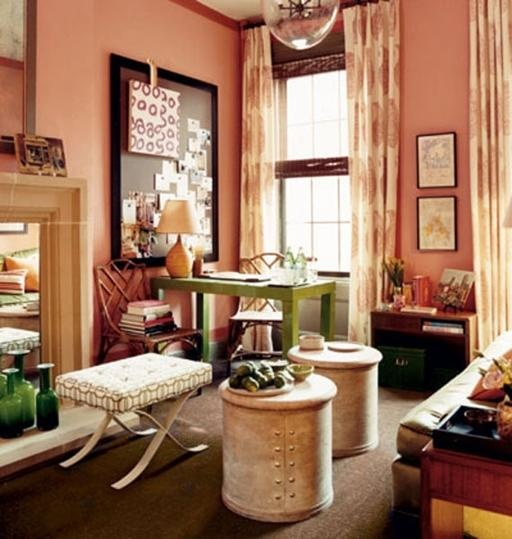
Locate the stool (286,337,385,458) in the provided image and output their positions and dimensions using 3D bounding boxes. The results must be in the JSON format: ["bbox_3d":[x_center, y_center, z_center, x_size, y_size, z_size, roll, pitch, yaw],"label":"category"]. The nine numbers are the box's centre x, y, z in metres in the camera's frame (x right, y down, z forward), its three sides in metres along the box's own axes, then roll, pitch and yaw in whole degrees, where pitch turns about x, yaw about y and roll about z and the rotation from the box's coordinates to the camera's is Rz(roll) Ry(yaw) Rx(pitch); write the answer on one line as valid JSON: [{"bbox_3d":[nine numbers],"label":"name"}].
[{"bbox_3d":[0.433,0.682,2.710,0.529,0.563,0.554,-2,2,-13],"label":"stool"}]

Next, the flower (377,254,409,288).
[{"bbox_3d":[1.079,0.017,3.854,0.227,0.283,0.217,-3,2,6],"label":"flower"}]

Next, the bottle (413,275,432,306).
[{"bbox_3d":[1.258,0.158,3.747,0.045,0.196,0.195,-3,7,30],"label":"bottle"}]

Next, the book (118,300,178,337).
[{"bbox_3d":[-0.800,0.307,3.526,0.248,0.192,0.309,0,1,36],"label":"book"}]

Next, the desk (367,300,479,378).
[{"bbox_3d":[1.231,0.502,3.574,0.606,0.553,0.217,0,-1,38],"label":"desk"}]

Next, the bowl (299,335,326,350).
[{"bbox_3d":[0.293,0.392,2.675,0.091,0.046,0.091,-2,1,0],"label":"bowl"}]

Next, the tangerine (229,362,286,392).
[{"bbox_3d":[0.010,0.430,1.972,0.137,0.045,0.139,1,5,10],"label":"tangerine"}]

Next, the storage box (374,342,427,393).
[{"bbox_3d":[1.090,0.672,3.794,0.494,0.423,0.298,2,3,33],"label":"storage box"}]

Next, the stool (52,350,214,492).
[{"bbox_3d":[-0.633,0.716,2.481,0.640,0.473,0.636,2,4,37],"label":"stool"}]

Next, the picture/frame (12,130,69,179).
[{"bbox_3d":[-1.242,-0.653,2.802,0.050,0.273,0.377,-13,-8,35],"label":"picture/frame"}]

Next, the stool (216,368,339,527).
[{"bbox_3d":[0.082,0.679,2.088,0.490,0.479,0.487,0,2,31],"label":"stool"}]
